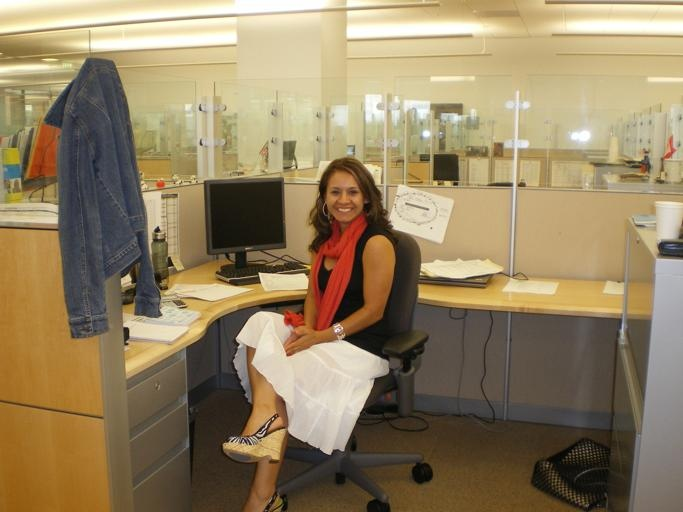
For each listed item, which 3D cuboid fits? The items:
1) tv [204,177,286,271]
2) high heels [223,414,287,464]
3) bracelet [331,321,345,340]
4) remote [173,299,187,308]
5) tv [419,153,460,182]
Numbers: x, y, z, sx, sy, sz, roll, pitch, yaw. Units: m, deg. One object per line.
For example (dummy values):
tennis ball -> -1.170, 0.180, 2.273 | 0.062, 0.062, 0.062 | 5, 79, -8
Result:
tv -> -0.589, -0.204, 3.335 | 0.511, 0.582, 0.177 | -4, 5, -27
high heels -> -0.342, 0.773, 2.295 | 0.271, 0.131, 0.203 | 7, 45, -19
bracelet -> -0.014, 0.348, 2.542 | 0.047, 0.078, 0.069 | -12, -12, -16
remote -> -0.781, 0.233, 2.676 | 0.036, 0.014, 0.052 | 4, 17, -27
tv -> 0.626, -0.530, 3.359 | 0.164, 0.174, 0.041 | 1, 12, 3
